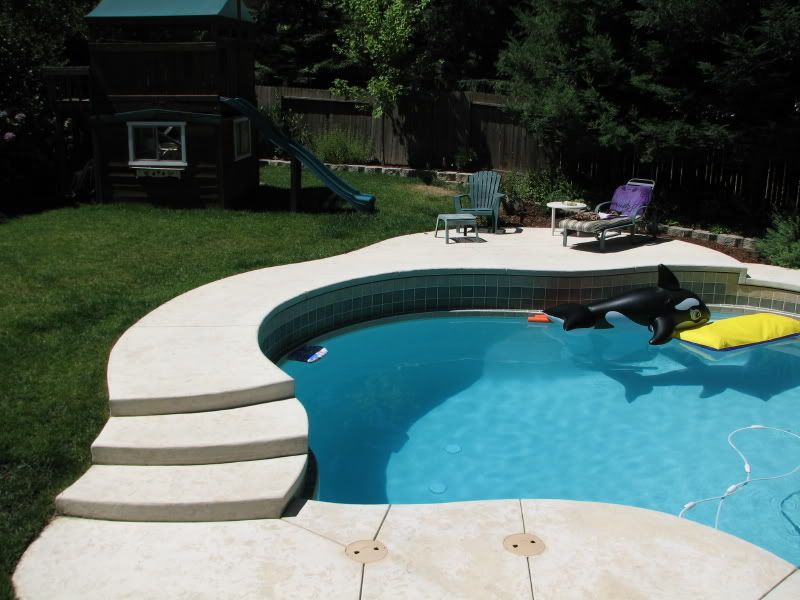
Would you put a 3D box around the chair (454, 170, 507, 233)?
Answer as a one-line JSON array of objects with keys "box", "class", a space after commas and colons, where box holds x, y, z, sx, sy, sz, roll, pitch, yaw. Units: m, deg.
[{"box": [1.811, -2.036, 15.474, 1.058, 1.592, 1.046, 16, 21, 40], "class": "chair"}]

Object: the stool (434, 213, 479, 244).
[{"box": [1.204, -1.676, 14.547, 0.936, 0.509, 0.763, -3, 18, -5], "class": "stool"}]

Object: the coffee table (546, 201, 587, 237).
[{"box": [3.699, -1.855, 15.358, 0.912, 0.677, 0.957, 4, 30, 10], "class": "coffee table"}]

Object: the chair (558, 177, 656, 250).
[{"box": [4.433, -1.898, 14.532, 1.964, 1.264, 1.146, -13, 15, -37], "class": "chair"}]

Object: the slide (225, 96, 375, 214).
[{"box": [-2.514, -3.590, 17.109, 3.940, 2.044, 0.864, 12, 10, 5], "class": "slide"}]
